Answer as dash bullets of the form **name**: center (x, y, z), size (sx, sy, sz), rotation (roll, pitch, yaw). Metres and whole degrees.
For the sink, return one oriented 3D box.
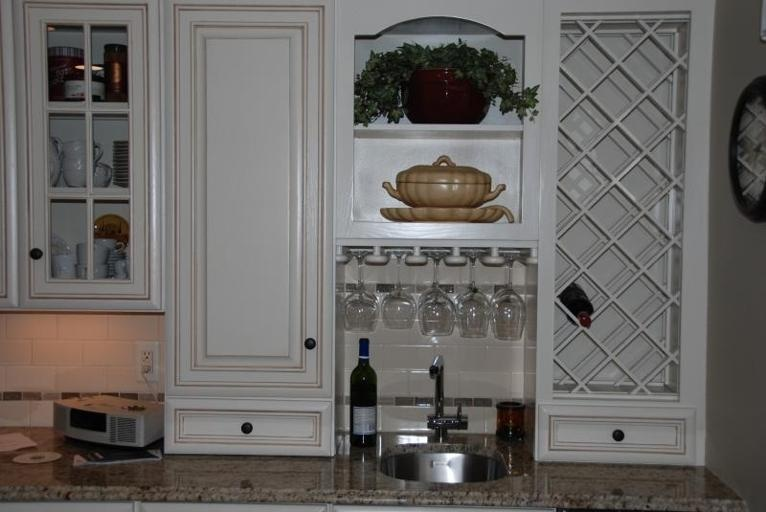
- **sink**: center (0.254, 0.876, 3.611), size (0.511, 0.149, 0.197), rotation (1, 7, 8)

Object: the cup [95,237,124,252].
- **cup**: center (-1.105, -0.044, 3.535), size (0.088, 0.041, 0.052), rotation (7, -6, -29)

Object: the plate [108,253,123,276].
- **plate**: center (-1.078, 0.033, 3.513), size (0.063, 0.090, 0.021), rotation (0, -1, 0)

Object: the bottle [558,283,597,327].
- **bottle**: center (0.792, 0.198, 3.544), size (0.118, 0.170, 0.158), rotation (-5, 8, -32)

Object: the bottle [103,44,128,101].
- **bottle**: center (-1.093, -0.736, 3.562), size (0.112, 0.237, 0.106), rotation (2, 9, 0)

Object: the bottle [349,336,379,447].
- **bottle**: center (-0.087, 0.569, 3.663), size (0.107, 0.444, 0.101), rotation (0, 6, 0)

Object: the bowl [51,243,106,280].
- **bowl**: center (-1.226, 0.025, 3.603), size (0.210, 0.144, 0.121), rotation (2, 0, 4)

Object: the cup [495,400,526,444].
- **cup**: center (0.546, 0.707, 3.781), size (0.193, 0.147, 0.196), rotation (2, 0, 0)

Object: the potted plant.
- **potted plant**: center (0.227, -0.665, 3.530), size (0.562, 0.249, 0.394), rotation (1, 5, 1)

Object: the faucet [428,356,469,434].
- **faucet**: center (0.272, 0.593, 3.729), size (0.174, 0.350, 0.240), rotation (0, 7, 3)

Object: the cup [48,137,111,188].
- **cup**: center (-1.236, -0.376, 3.530), size (0.250, 0.256, 0.159), rotation (2, -1, -5)
